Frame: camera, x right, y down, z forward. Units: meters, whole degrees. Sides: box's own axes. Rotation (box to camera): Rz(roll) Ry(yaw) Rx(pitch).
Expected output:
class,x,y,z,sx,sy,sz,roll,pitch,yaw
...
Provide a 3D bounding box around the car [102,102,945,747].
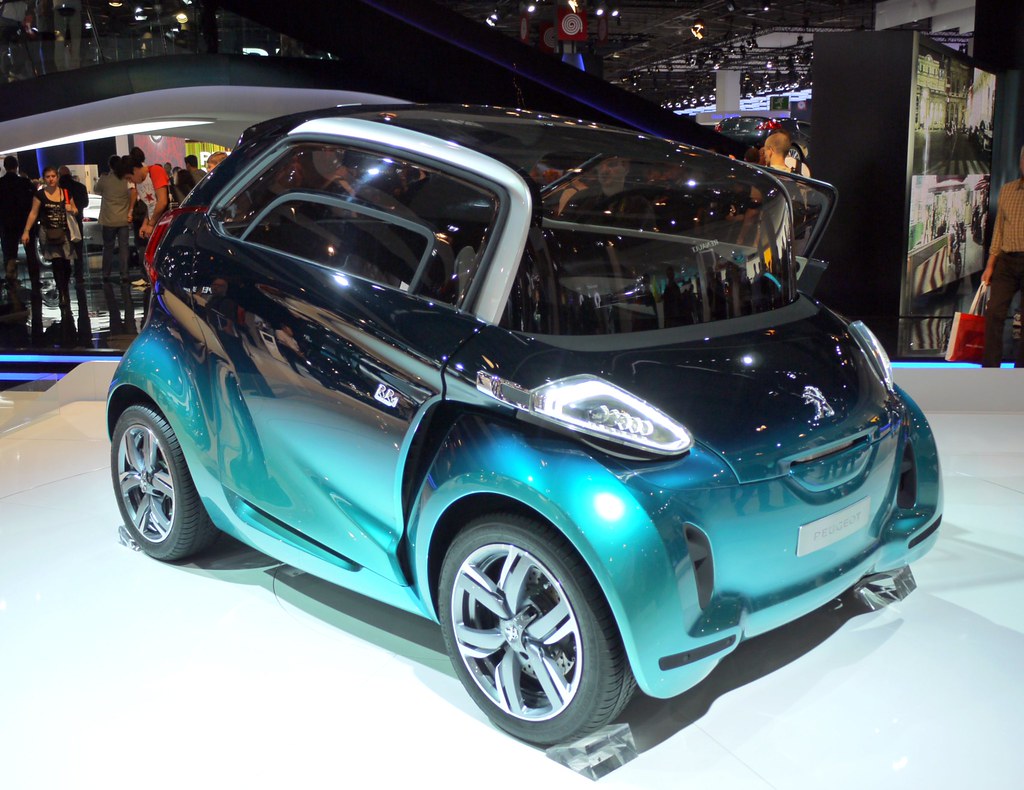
class,x,y,z,sx,sy,sz,roll,pitch,yaw
car,-0.102,0.033,2.261,2.318,1.219,1.810,16,25,38

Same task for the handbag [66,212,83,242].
class,x,y,z,sx,sy,sz,roll,pitch,yaw
handbag,-5.496,-2.111,8.139,0.083,0.263,0.219,2,12,25
